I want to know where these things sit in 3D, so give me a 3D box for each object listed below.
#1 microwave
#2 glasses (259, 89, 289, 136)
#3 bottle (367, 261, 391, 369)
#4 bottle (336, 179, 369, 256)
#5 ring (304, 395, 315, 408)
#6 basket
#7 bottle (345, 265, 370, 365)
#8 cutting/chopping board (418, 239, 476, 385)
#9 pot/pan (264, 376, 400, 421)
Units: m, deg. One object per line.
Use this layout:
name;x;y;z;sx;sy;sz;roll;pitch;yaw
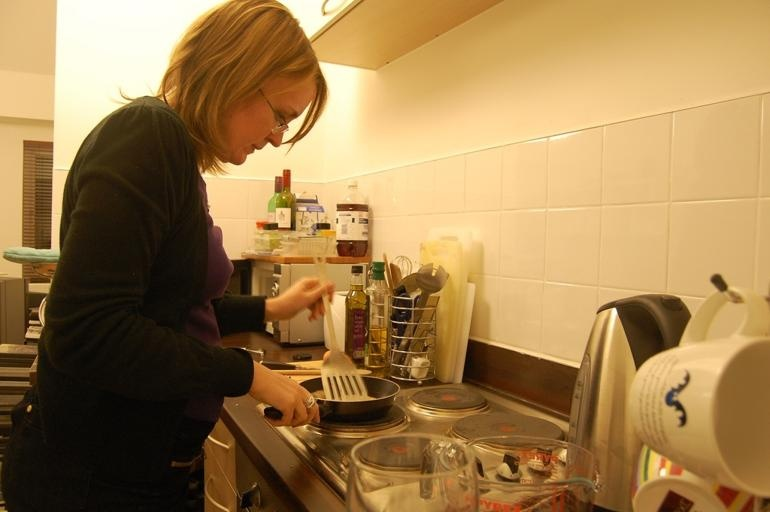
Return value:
microwave;-0.345;0.072;2.487;0.432;0.387;0.601;-2;24;-15
glasses;-0.243;-0.321;1.232;0.019;0.063;0.061;-13;3;8
bottle;-0.024;0.194;1.814;0.081;0.344;0.159;0;10;0
bottle;-0.124;-0.154;2.294;0.138;0.308;0.203;3;11;17
ring;-0.166;0.323;1.218;0.021;0.026;0.010;0;-4;-36
basket;0.094;0.231;1.757;0.192;0.295;0.189;2;-5;8
bottle;-0.096;0.191;1.878;0.082;0.323;0.179;-1;10;-6
cutting/chopping board;0.198;0.193;1.705;0.057;0.509;0.373;2;9;-20
pot/pan;-0.125;0.346;1.318;0.264;0.043;0.162;-1;1;-41
